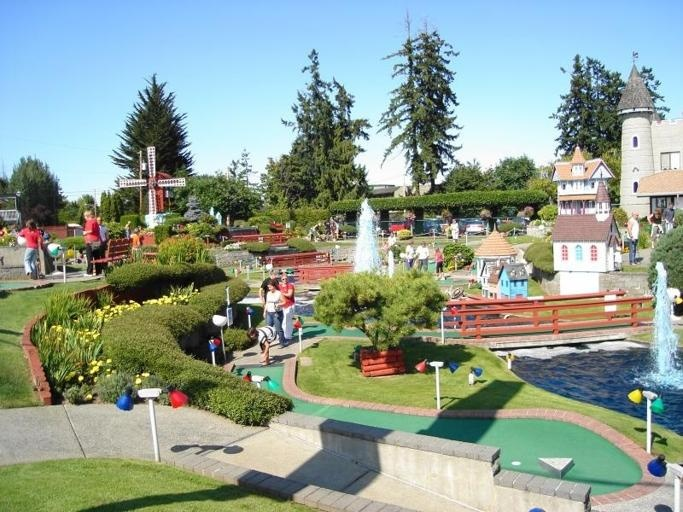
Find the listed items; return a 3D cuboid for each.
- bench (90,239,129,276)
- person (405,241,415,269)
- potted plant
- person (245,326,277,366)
[{"bbox_3d":[-8.764,0.101,24.500,0.460,0.880,1.330,0,4,15],"label":"bench"},{"bbox_3d":[3.848,0.014,36.868,0.504,0.597,1.651,9,-24,15],"label":"person"},{"bbox_3d":[1.149,2.043,20.234,3.670,3.214,1.282,4,6,4],"label":"potted plant"},{"bbox_3d":[-2.628,2.748,21.539,0.809,1.295,2.721,3,7,-7],"label":"person"}]
